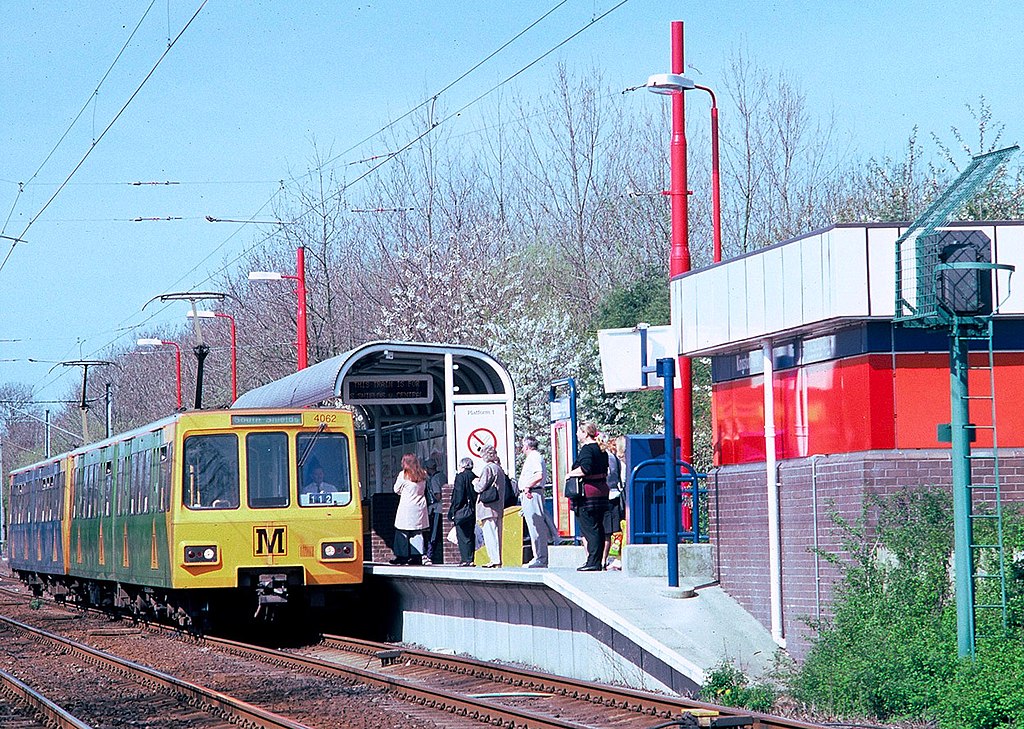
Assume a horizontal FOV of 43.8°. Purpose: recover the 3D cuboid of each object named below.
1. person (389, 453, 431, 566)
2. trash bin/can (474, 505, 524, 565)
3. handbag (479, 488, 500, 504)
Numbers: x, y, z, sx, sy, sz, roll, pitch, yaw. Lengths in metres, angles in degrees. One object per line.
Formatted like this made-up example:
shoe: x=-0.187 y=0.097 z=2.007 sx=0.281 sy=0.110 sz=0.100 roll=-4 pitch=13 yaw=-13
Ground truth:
person: x=-1.703 y=2.490 z=21.410 sx=0.590 sy=1.830 sz=1.561 roll=-2 pitch=-5 yaw=-4
trash bin/can: x=-0.173 y=2.742 z=20.495 sx=1.076 sy=1.163 sz=0.628 roll=1 pitch=-8 yaw=-8
handbag: x=-0.340 y=1.990 z=19.245 sx=0.309 sy=0.274 sz=0.196 roll=-2 pitch=-5 yaw=-4
